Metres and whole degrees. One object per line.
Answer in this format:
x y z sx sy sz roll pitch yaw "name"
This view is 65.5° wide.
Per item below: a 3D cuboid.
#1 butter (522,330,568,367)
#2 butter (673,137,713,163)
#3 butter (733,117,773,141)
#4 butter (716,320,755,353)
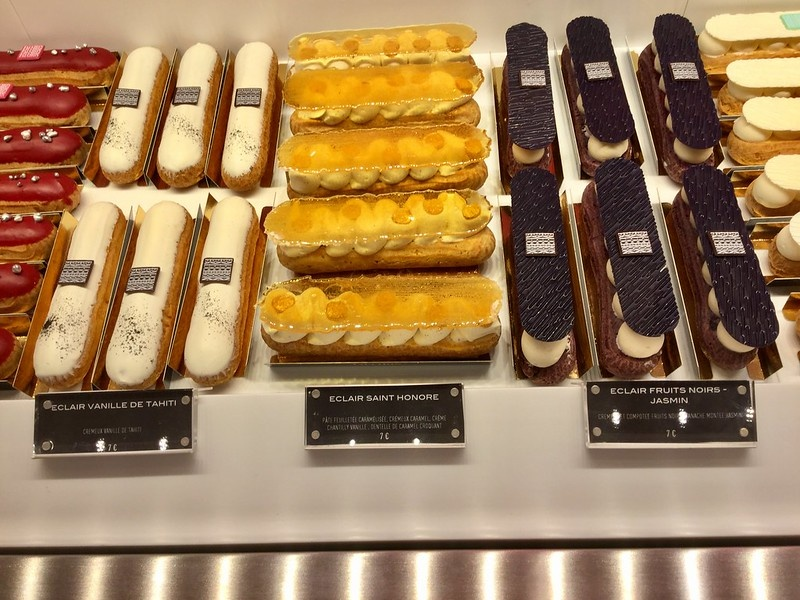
0.680 0.242 2.915 0.155 0.172 0.188 -5 55 7 "butter"
1.596 -0.859 3.387 0.138 0.119 0.168 -4 53 -2 "butter"
1.937 -0.956 3.431 0.142 0.080 0.148 38 76 27 "butter"
1.561 0.185 2.905 0.175 0.135 0.102 21 41 31 "butter"
